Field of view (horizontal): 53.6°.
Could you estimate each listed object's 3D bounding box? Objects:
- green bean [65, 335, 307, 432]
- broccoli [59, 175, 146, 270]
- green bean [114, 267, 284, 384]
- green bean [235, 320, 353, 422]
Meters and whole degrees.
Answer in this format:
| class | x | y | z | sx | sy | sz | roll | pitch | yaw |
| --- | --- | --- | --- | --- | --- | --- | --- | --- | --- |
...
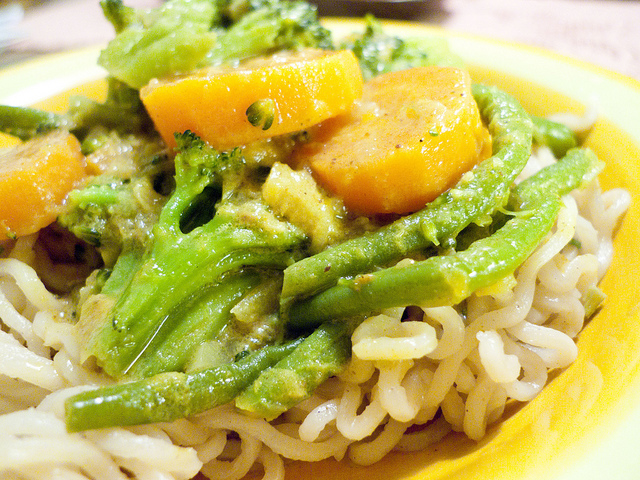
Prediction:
| class | x | y | z | sx | sy | sz | roll | pitch | yaw |
| --- | --- | --- | --- | --- | --- | --- | --- | --- | --- |
| green bean | -0.431 | 0.569 | 2.459 | 1.051 | 0.201 | 0.161 | -9 | 99 | -19 |
| broccoli | -0.935 | -0.085 | 2.842 | 0.344 | 0.353 | 0.323 | 33 | 60 | 22 |
| green bean | -0.497 | 0.319 | 2.674 | 0.862 | 0.178 | 0.240 | -39 | 104 | -19 |
| green bean | -0.113 | 0.539 | 2.499 | 0.259 | 0.145 | 0.500 | 43 | 82 | -5 |
